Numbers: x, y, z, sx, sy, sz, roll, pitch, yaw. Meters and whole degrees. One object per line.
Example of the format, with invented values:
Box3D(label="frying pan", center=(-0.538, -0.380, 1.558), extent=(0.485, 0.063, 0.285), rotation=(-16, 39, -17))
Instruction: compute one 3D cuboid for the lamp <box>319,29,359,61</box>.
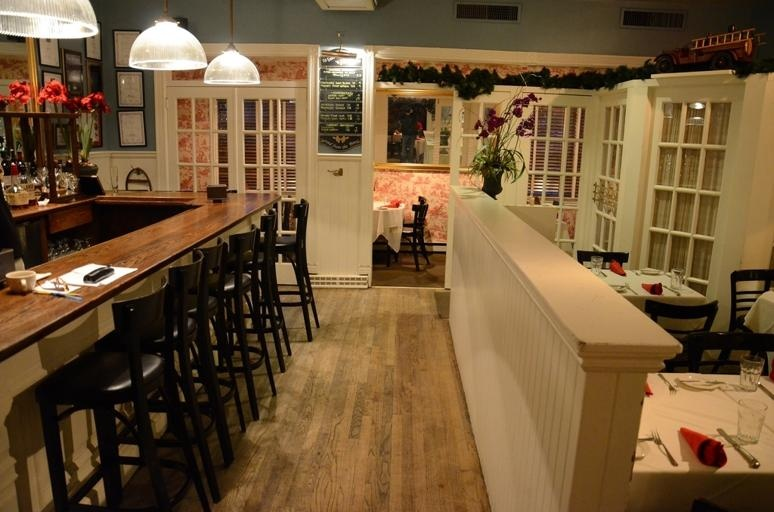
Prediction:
Box3D(label="lamp", center=(-0.585, -2.547, 6.608), extent=(0.435, 0.320, 0.285), rotation=(-1, 13, -2))

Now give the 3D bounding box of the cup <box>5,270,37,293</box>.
Box3D(label="cup", center=(-2.006, 0.133, 3.008), extent=(0.103, 0.076, 0.160), rotation=(-2, 19, -25))

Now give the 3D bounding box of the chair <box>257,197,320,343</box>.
Box3D(label="chair", center=(-1.041, 0.090, 5.666), extent=(0.577, 1.352, 0.565), rotation=(-1, 8, -2))

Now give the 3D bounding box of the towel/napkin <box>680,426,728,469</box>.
Box3D(label="towel/napkin", center=(1.587, 0.947, 2.750), extent=(0.108, 0.091, 0.223), rotation=(-5, 8, -2))

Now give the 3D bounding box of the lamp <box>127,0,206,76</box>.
Box3D(label="lamp", center=(-1.700, -1.732, 4.354), extent=(0.576, 0.675, 0.592), rotation=(-1, 9, -3))

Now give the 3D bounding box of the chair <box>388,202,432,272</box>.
Box3D(label="chair", center=(0.290, -0.363, 8.371), extent=(0.684, 0.913, 0.655), rotation=(-2, -2, 39))

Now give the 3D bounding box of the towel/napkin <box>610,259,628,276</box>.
Box3D(label="towel/napkin", center=(2.167, 0.101, 5.219), extent=(0.137, 0.071, 0.173), rotation=(5, 23, -33))

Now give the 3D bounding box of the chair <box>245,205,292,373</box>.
Box3D(label="chair", center=(-1.149, 0.265, 4.930), extent=(0.611, 1.264, 0.568), rotation=(-5, 13, -10))

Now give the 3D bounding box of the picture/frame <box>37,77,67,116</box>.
Box3D(label="picture/frame", center=(-3.047, -1.422, 4.989), extent=(0.218, 0.243, 0.218), rotation=(1, 13, 3))

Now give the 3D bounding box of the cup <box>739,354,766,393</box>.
Box3D(label="cup", center=(2.145, 0.694, 3.267), extent=(0.179, 0.201, 0.181), rotation=(9, -2, 0))

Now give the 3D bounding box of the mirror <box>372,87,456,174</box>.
Box3D(label="mirror", center=(0.414, -2.047, 8.714), extent=(1.569, 1.670, 0.140), rotation=(1, 11, -1))

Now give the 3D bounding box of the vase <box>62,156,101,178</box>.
Box3D(label="vase", center=(-2.957, -0.854, 5.277), extent=(0.300, 0.179, 0.367), rotation=(-8, 15, -30))

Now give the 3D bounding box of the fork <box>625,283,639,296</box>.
Box3D(label="fork", center=(2.142, 0.287, 4.818), extent=(0.071, 0.099, 0.087), rotation=(2, 10, 17))

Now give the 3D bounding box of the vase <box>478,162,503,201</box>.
Box3D(label="vase", center=(0.994, -0.745, 5.427), extent=(0.286, 0.363, 0.283), rotation=(0, 8, 2))

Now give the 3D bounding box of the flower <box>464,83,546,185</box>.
Box3D(label="flower", center=(1.382, -1.429, 6.258), extent=(0.727, 1.302, 0.926), rotation=(25, 36, 35))

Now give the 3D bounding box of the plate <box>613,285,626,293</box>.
Box3D(label="plate", center=(1.948, 0.272, 4.609), extent=(0.102, 0.022, 0.105), rotation=(-1, 7, 12))
